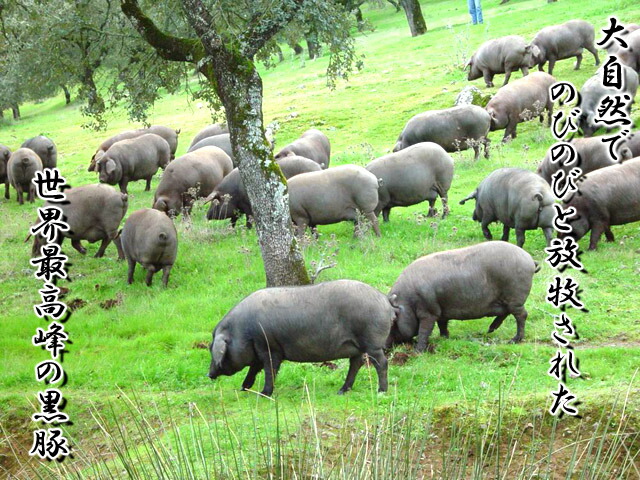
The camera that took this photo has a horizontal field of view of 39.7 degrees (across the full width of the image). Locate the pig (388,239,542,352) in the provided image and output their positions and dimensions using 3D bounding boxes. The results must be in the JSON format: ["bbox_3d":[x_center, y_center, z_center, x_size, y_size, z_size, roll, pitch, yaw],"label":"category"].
[{"bbox_3d":[2.368,1.099,16.718,3.296,2.033,1.091,-9,17,6],"label":"pig"}]

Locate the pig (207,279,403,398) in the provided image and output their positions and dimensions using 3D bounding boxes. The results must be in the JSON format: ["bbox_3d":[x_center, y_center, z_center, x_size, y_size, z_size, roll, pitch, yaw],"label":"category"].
[{"bbox_3d":[-0.369,1.706,15.200,3.171,2.144,1.083,-4,9,-5],"label":"pig"}]
